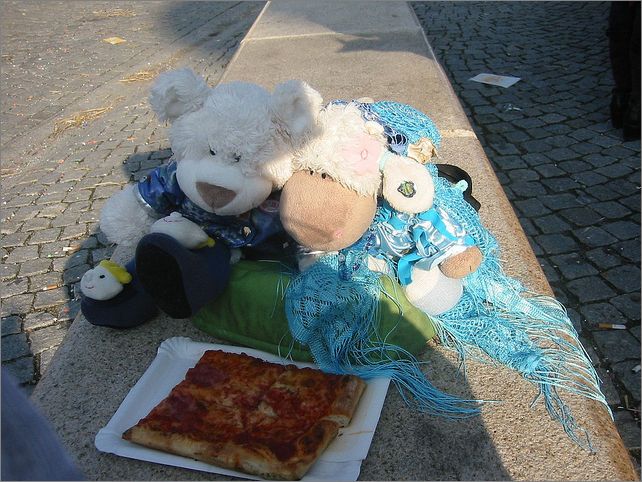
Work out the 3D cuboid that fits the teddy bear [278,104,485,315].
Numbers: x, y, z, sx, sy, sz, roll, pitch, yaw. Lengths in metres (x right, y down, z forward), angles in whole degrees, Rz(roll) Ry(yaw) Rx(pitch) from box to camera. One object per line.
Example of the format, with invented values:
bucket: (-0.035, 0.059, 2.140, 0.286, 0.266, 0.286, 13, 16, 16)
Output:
teddy bear: (0.223, -0.099, 2.264, 0.763, 0.909, 0.607, -26, 34, 24)
